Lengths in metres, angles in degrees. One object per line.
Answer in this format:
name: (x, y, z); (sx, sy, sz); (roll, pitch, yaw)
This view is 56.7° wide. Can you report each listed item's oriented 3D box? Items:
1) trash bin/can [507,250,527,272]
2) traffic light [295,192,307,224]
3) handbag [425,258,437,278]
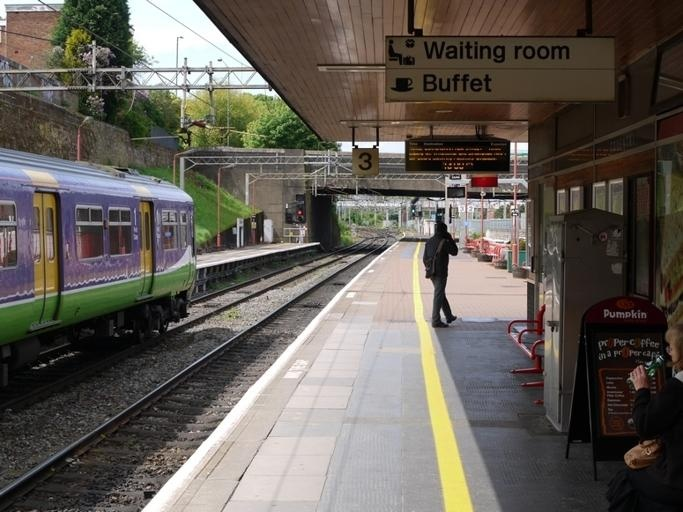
trash bin/can: (7.545, 0.203, 27.163); (0.882, 0.951, 0.583); (-1, -2, 43)
traffic light: (-3.873, -4.469, 59.266); (0.929, 2.717, 1.190); (-3, 2, -10)
handbag: (1.880, 0.273, 13.252); (0.131, 0.343, 0.245); (3, -3, -35)
